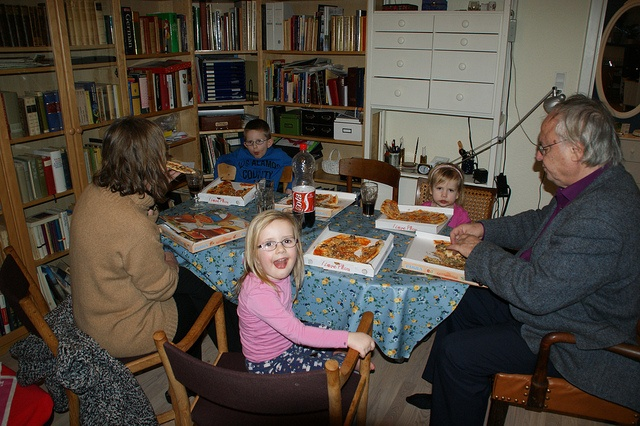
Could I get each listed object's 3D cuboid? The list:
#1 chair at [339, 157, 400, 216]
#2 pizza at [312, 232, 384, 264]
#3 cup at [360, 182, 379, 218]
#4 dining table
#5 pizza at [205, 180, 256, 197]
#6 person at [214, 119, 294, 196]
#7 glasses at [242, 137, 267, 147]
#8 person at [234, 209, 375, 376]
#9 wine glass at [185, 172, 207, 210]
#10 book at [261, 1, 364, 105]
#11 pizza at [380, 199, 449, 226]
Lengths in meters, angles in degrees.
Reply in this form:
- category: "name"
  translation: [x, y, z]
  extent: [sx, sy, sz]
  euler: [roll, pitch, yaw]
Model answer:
- category: "chair"
  translation: [0.390, -0.247, 3.452]
  extent: [0.419, 0.654, 0.355]
  euler: [13, 22, 26]
- category: "pizza"
  translation: [0.143, 0.185, 2.252]
  extent: [0.175, 0.027, 0.194]
  euler: [12, 32, 22]
- category: "cup"
  translation: [0.295, -0.082, 2.666]
  extent: [0.113, 0.189, 0.116]
  euler: [1, 10, 0]
- category: "dining table"
  translation: [-0.047, 0.182, 2.213]
  extent: [1.337, 0.329, 0.828]
  euler: [19, 42, 30]
- category: "pizza"
  translation: [-0.624, -0.166, 2.885]
  extent: [0.156, 0.026, 0.142]
  euler: [14, 35, 17]
- category: "person"
  translation: [-0.573, -0.355, 3.814]
  extent: [0.714, 1.049, 0.274]
  euler: [4, 41, -4]
- category: "glasses"
  translation: [-0.536, -0.588, 3.556]
  extent: [0.187, 0.062, 0.087]
  euler: [-1, 16, -3]
- category: "person"
  translation: [-0.039, 0.407, 2.150]
  extent: [0.730, 0.823, 0.572]
  euler: [-1, 10, 8]
- category: "wine glass"
  translation: [-0.827, -0.163, 2.839]
  extent: [0.123, 0.257, 0.126]
  euler: [2, 26, 6]
- category: "book"
  translation: [-0.046, -1.597, 4.192]
  extent: [0.906, 0.912, 0.305]
  euler: [7, 22, 15]
- category: "pizza"
  translation: [0.540, 0.009, 2.572]
  extent: [0.255, 0.080, 0.190]
  euler: [4, 17, 28]
